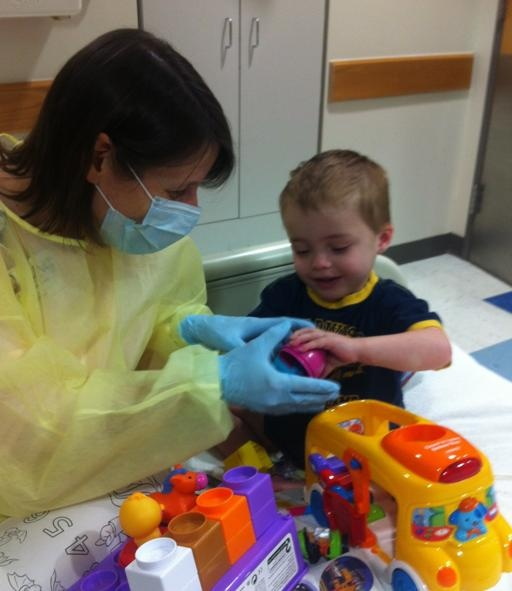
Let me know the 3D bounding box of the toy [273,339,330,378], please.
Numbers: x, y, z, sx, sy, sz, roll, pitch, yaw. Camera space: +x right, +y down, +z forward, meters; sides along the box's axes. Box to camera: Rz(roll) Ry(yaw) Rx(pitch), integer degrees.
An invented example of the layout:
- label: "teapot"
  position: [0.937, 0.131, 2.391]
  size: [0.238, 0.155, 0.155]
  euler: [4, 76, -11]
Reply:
- label: "toy"
  position: [0.069, 0.092, 0.769]
  size: [0.068, 0.047, 0.063]
  euler: [15, 21, 42]
